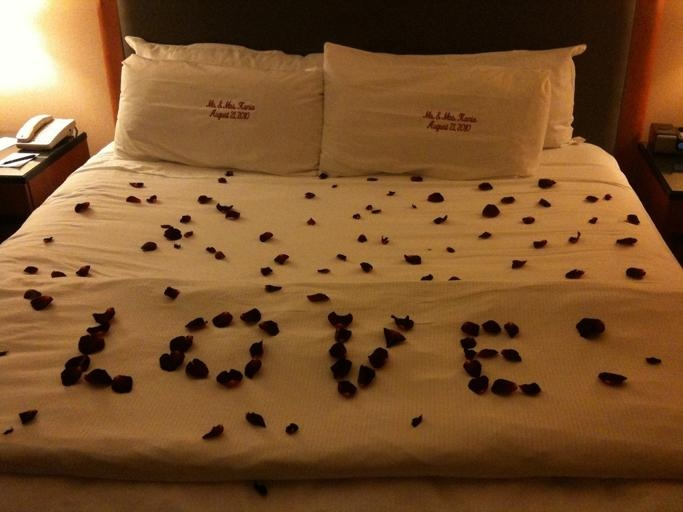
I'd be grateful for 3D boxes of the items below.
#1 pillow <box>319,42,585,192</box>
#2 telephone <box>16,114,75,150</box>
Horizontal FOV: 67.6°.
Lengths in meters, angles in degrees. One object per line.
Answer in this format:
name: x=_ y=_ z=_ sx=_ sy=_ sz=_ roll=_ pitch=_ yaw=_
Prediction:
pillow: x=0.487 y=-0.615 z=2.349 sx=0.802 sy=0.475 sz=0.227 roll=1 pitch=0 yaw=4
telephone: x=-1.618 y=-0.673 z=2.846 sx=0.223 sy=0.272 sz=0.117 roll=6 pitch=-53 yaw=14
